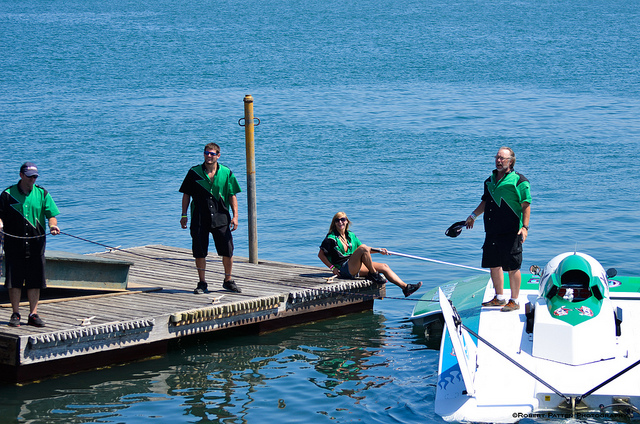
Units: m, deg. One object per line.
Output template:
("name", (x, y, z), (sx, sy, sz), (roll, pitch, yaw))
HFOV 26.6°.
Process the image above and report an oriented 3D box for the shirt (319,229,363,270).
("shirt", (0.785, 1.540, 53.249), (2.186, 1.357, 0.914), (-4, 6, -20))
